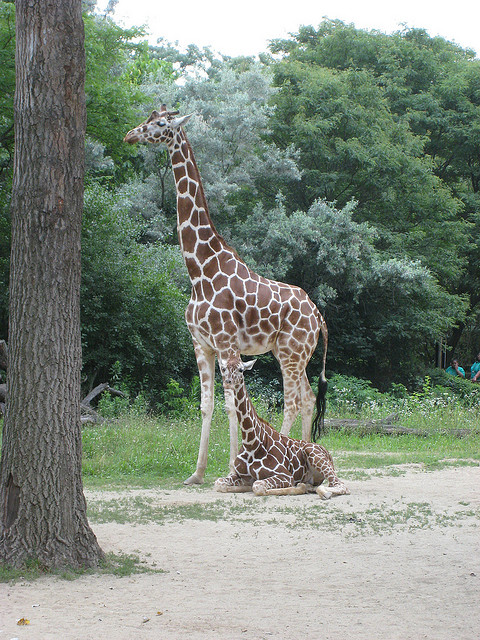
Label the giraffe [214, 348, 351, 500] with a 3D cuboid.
[{"bbox_3d":[0.326,1.084,11.649,1.156,1.543,0.889,3,-13,-23],"label":"giraffe"}]
